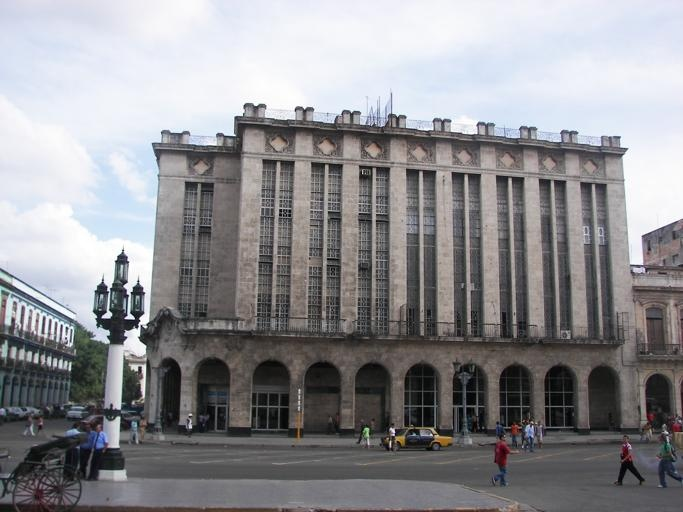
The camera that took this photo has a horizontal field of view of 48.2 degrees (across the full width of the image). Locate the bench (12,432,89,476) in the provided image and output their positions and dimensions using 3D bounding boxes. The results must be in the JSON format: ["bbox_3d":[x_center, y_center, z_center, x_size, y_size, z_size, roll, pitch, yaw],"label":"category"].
[{"bbox_3d":[-12.467,9.299,32.865,2.376,2.614,3.076,5,-10,-35],"label":"bench"}]

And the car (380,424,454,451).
[{"bbox_3d":[5.368,13.237,55.561,4.151,1.465,2.190,3,-25,1],"label":"car"}]

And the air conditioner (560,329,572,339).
[{"bbox_3d":[19.903,7.122,67.390,1.059,1.067,0.606,2,-3,3],"label":"air conditioner"}]

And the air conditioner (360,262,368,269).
[{"bbox_3d":[1.986,0.917,66.201,0.568,0.445,0.566,0,-6,8],"label":"air conditioner"}]
